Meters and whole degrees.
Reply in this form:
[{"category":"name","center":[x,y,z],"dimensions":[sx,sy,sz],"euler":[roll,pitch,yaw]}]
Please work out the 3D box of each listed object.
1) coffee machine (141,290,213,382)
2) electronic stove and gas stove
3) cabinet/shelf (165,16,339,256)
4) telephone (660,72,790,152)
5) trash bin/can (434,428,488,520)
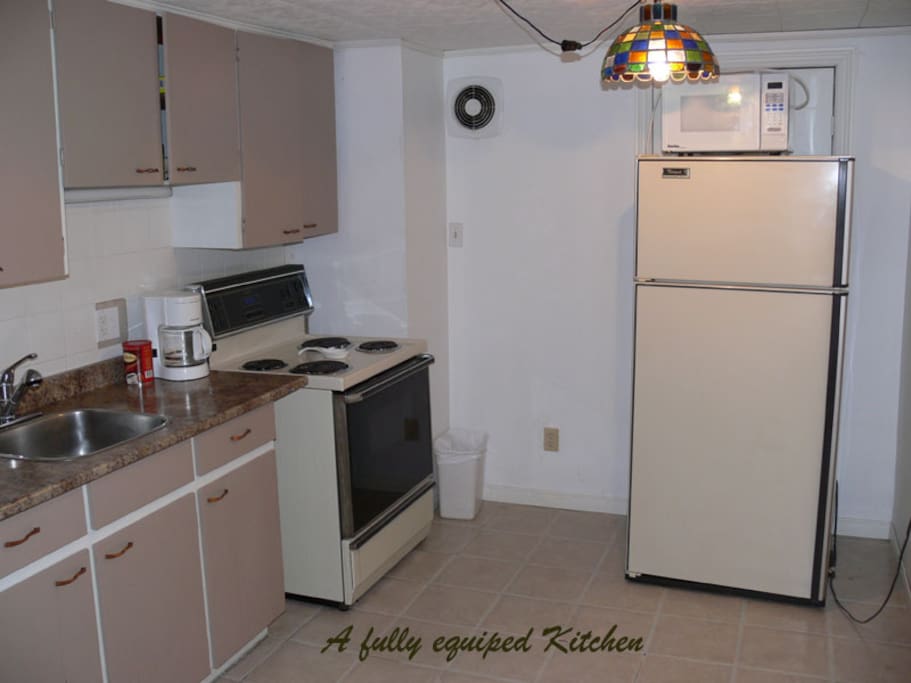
[{"category":"coffee machine","center":[-1.197,-0.033,3.079],"dimensions":[0.237,0.405,0.254],"euler":[17,17,38]},{"category":"electronic stove and gas stove","center":[-0.643,0.107,3.509],"dimensions":[0.694,0.105,0.935],"euler":[2,11,16]},{"category":"cabinet/shelf","center":[-0.929,-0.924,3.236],"dimensions":[0.398,0.975,0.878],"euler":[5,16,14]},{"category":"telephone","center":[1.387,-1.151,3.572],"dimensions":[0.597,0.368,0.349],"euler":[7,16,30]},{"category":"trash bin/can","center":[0.049,0.776,4.194],"dimensions":[0.257,0.535,0.274],"euler":[6,13,21]}]
